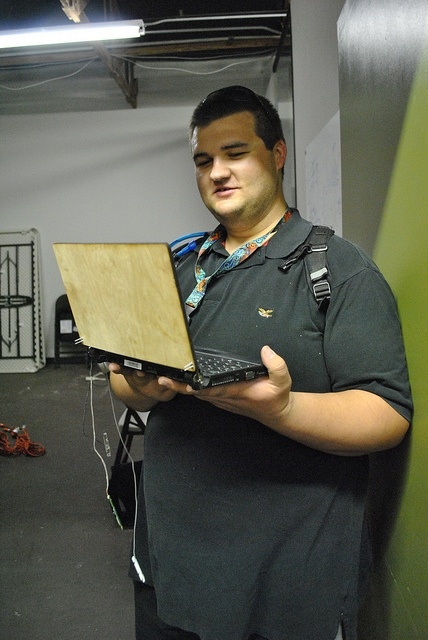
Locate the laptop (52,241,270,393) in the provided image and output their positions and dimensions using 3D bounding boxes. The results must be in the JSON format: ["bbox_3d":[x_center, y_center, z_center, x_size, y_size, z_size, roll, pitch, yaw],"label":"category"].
[{"bbox_3d":[-0.070,-0.012,0.794,0.273,0.182,0.316,5,1,-30],"label":"laptop"}]

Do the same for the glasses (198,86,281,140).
[{"bbox_3d":[0.052,-0.369,1.003,0.125,0.130,0.039,5,16,23],"label":"glasses"}]

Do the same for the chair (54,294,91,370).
[{"bbox_3d":[-1.773,0.114,6.506,0.485,0.819,0.454,0,5,-29],"label":"chair"}]
